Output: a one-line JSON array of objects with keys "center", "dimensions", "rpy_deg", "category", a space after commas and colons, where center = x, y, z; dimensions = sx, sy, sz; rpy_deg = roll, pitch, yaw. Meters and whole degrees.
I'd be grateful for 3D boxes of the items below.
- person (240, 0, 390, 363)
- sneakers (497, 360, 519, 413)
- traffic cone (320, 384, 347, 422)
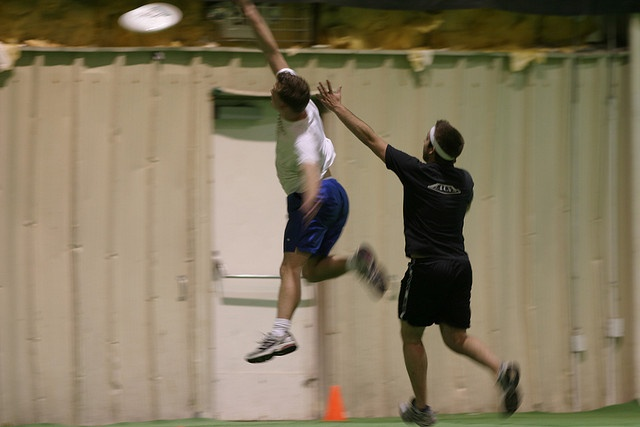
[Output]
[{"center": [-0.130, 0.019, 13.075], "dimensions": [0.725, 2.704, 1.081], "rpy_deg": [-8, -8, 38], "category": "person"}, {"center": [1.787, 1.654, 13.037], "dimensions": [0.190, 0.487, 0.227], "rpy_deg": [-5, 2, -27], "category": "sneakers"}, {"center": [0.166, 1.934, 14.038], "dimensions": [0.334, 0.377, 0.319], "rpy_deg": [0, -4, -21], "category": "traffic cone"}]
